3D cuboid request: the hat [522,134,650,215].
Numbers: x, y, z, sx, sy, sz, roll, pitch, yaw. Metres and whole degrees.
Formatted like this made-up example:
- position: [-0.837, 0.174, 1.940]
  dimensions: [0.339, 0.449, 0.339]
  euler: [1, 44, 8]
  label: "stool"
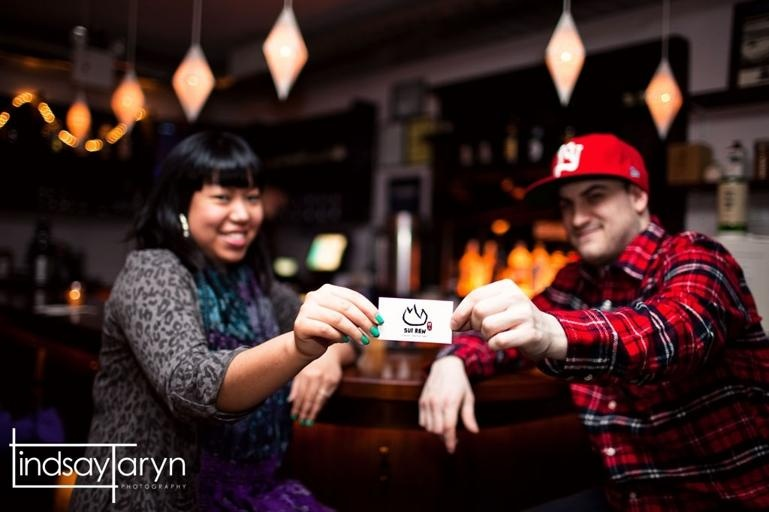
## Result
- position: [0.996, -0.385, 2.776]
  dimensions: [0.457, 0.218, 0.343]
  euler: [2, -3, -3]
  label: "hat"
